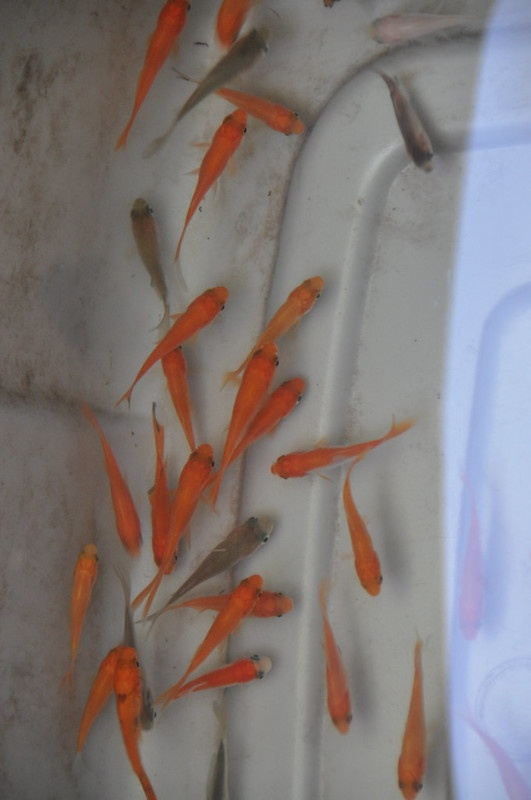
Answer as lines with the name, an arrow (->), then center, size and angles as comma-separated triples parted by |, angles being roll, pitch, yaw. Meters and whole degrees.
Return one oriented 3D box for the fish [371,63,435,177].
fish -> 0.307, -0.627, 3.028 | 0.035, 0.078, 0.219 | -14, -80, 25
